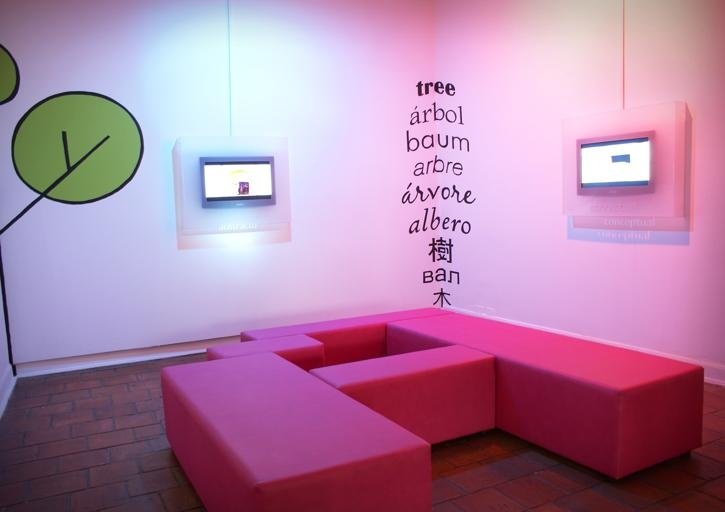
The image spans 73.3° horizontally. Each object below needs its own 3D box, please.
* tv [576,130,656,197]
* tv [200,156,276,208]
[{"bbox_3d":[2.411,-0.873,4.606,0.676,0.576,0.074,3,8,45],"label":"tv"},{"bbox_3d":[-1.422,-0.827,5.411,0.581,0.419,0.063,-2,4,-26],"label":"tv"}]
